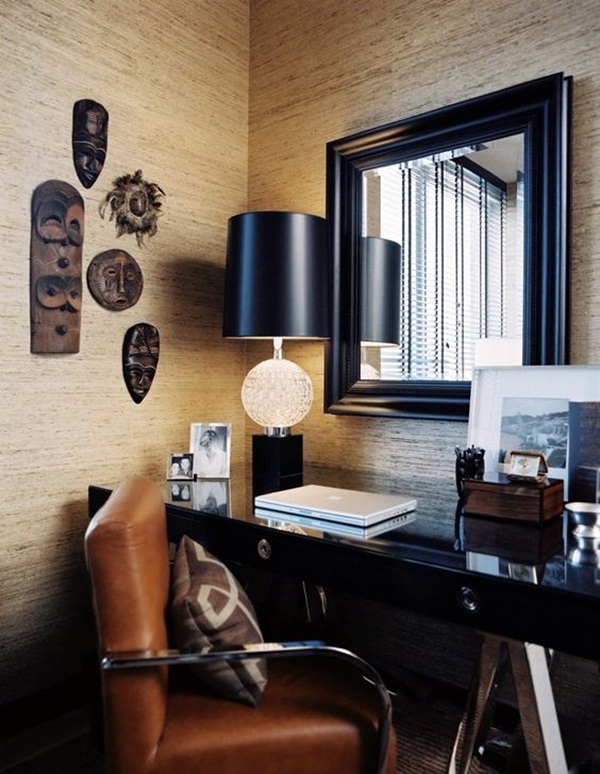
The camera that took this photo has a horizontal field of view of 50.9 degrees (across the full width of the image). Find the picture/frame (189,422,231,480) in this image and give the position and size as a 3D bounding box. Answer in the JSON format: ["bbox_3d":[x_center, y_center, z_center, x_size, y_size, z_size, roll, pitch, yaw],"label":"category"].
[{"bbox_3d":[-0.289,0.212,2.031,0.183,0.241,0.017,1,-6,-10],"label":"picture/frame"}]

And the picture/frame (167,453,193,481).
[{"bbox_3d":[-0.373,0.256,1.982,0.082,0.076,0.029,1,-7,9],"label":"picture/frame"}]

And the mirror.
[{"bbox_3d":[0.387,-0.359,1.871,0.788,0.887,0.234,2,16,42],"label":"mirror"}]
